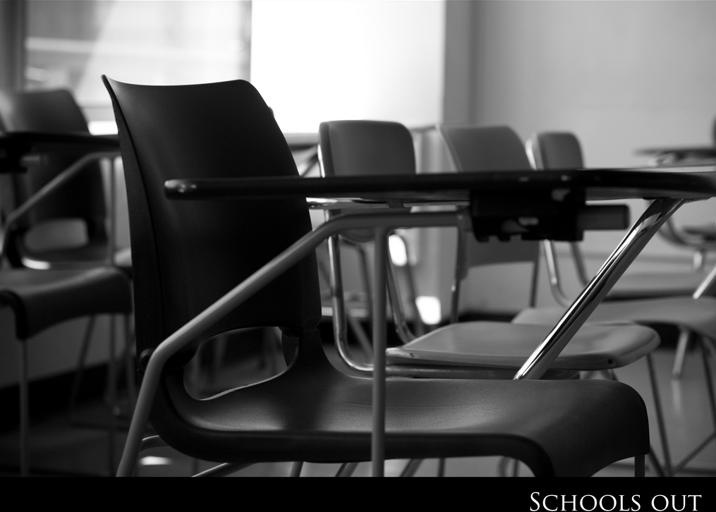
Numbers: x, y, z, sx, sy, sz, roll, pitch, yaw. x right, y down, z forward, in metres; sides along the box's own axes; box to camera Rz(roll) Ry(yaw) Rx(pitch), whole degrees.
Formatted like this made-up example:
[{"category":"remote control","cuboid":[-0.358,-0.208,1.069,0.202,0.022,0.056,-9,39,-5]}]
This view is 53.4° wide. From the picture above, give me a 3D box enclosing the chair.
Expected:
[{"category":"chair","cuboid":[0.059,0.073,1.245,0.849,0.793,0.700,0,0,20]}]
